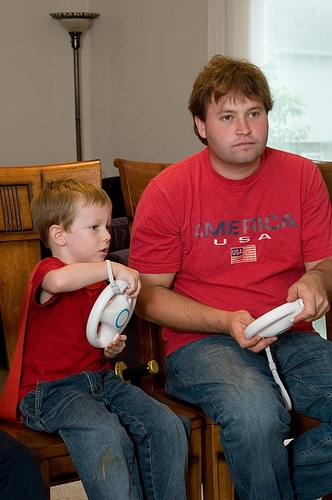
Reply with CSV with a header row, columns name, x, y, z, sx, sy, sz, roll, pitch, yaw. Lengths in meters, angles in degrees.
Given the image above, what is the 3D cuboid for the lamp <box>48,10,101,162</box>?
name,x,y,z,sx,sy,sz,roll,pitch,yaw
lamp,-0.846,-1.415,3.992,0.413,1.457,0.416,19,29,32
